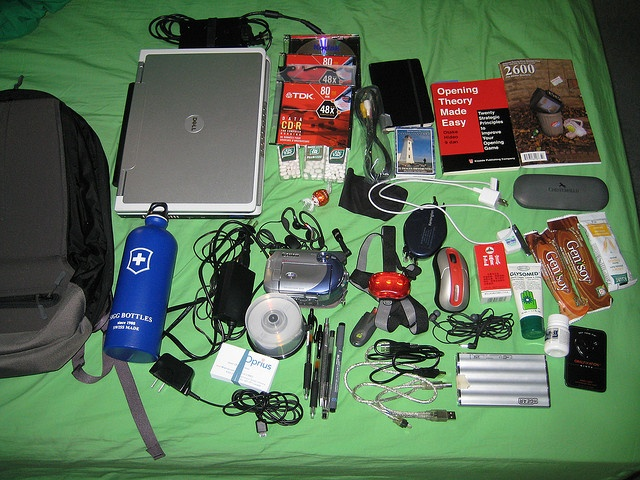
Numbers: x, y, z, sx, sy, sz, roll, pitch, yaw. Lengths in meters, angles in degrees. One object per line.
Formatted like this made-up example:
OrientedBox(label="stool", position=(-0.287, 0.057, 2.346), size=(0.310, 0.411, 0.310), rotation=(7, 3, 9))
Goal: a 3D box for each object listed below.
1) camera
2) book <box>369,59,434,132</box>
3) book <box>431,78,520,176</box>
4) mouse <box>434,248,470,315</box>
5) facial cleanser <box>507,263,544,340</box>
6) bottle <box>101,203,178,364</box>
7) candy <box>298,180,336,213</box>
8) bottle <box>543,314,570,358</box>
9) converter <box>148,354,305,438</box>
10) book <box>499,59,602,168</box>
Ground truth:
OrientedBox(label="camera", position=(-0.067, 0.148, 2.379), size=(0.288, 0.106, 0.222), rotation=(2, 65, 0))
OrientedBox(label="book", position=(0.389, -0.705, 2.767), size=(0.250, 0.205, 0.324), rotation=(-9, 41, -5))
OrientedBox(label="book", position=(0.685, -0.599, 2.732), size=(0.333, 0.419, 0.042), rotation=(0, 33, 13))
OrientedBox(label="mouse", position=(0.562, 0.156, 2.458), size=(0.151, 0.093, 0.309), rotation=(11, 56, -7))
OrientedBox(label="facial cleanser", position=(0.880, 0.253, 2.451), size=(0.147, 0.088, 0.311), rotation=(-3, 70, 11))
OrientedBox(label="bottle", position=(-0.744, 0.156, 2.428), size=(0.213, 0.216, 0.689), rotation=(12, 61, -18))
OrientedBox(label="candy", position=(-0.015, -0.185, 2.608), size=(0.163, 0.063, 0.092), rotation=(-42, 77, -4))
OrientedBox(label="bottle", position=(0.993, 0.393, 2.385), size=(0.081, 0.082, 0.146), rotation=(13, 67, 0))
OrientedBox(label="converter", position=(-0.379, 0.616, 2.344), size=(0.631, 0.199, 0.172), rotation=(13, 43, 18))
OrientedBox(label="book", position=(1.075, -0.623, 2.720), size=(0.351, 0.064, 0.533), rotation=(-4, 77, -7))
